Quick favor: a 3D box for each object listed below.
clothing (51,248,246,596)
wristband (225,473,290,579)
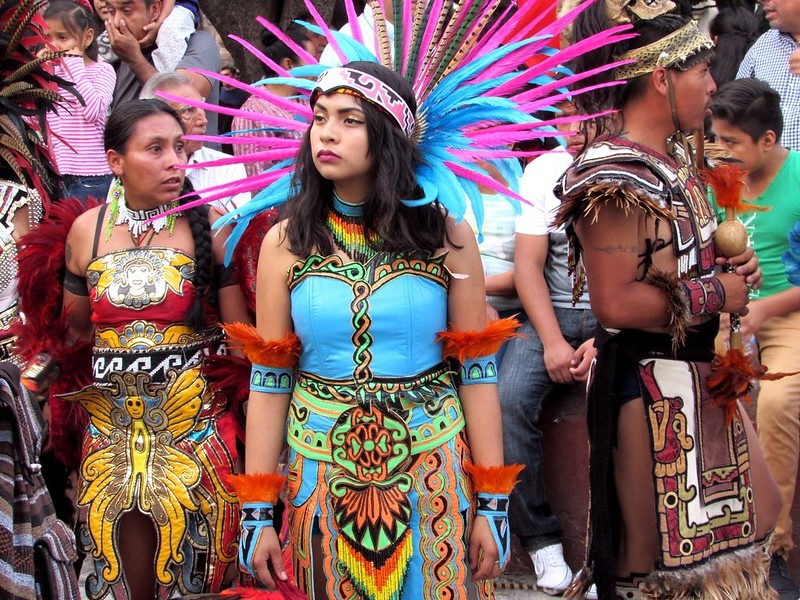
[{"bbox_3d":[-1.018,0.510,4.135,0.659,1.413,0.450,-1,-18,-9],"label":"clothing"},{"bbox_3d":[-0.493,0.780,3.416,0.207,0.351,0.159,-10,-18,20],"label":"wristband"}]
